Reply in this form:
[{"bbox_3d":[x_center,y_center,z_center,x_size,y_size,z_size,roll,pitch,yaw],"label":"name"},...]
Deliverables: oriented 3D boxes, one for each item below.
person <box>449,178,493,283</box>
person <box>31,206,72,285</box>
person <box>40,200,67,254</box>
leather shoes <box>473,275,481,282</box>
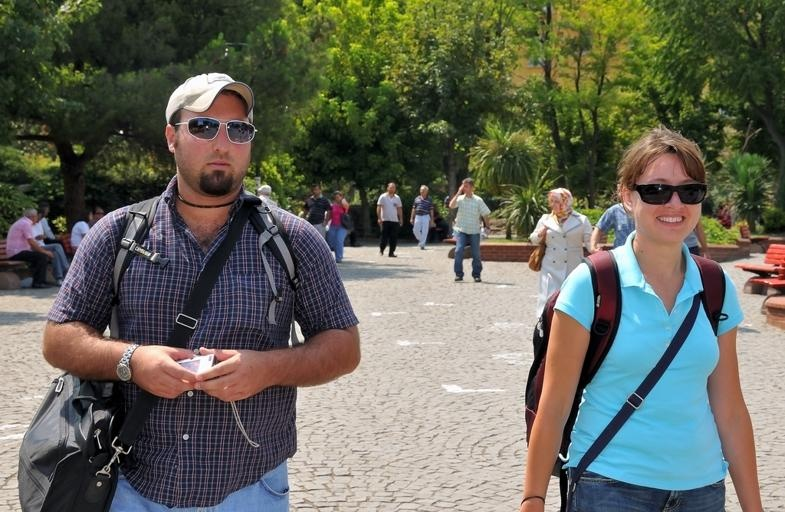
[{"bbox_3d":[1.608,-0.512,17.363,1.027,2.164,0.596,3,-4,-23],"label":"person"},{"bbox_3d":[-7.641,-0.254,18.197,0.925,1.692,0.592,4,18,-15],"label":"person"},{"bbox_3d":[-7.956,-0.508,19.004,0.582,1.365,0.760,-2,-1,32],"label":"person"},{"bbox_3d":[1.822,0.496,17.368,0.115,0.145,0.344,1,-5,-1],"label":"leather shoes"}]
